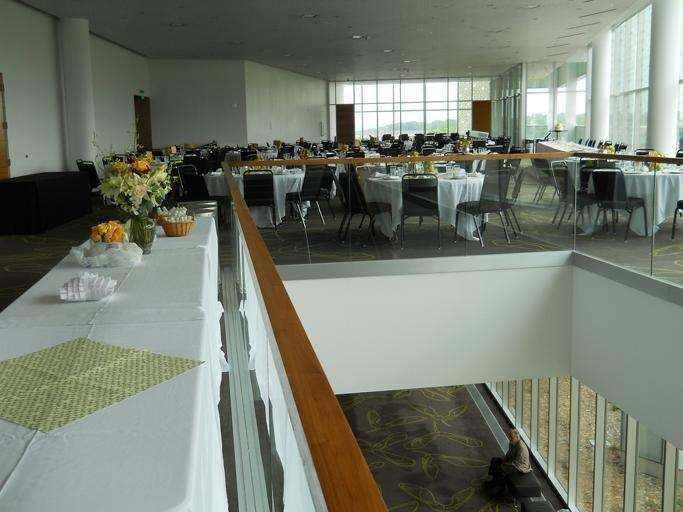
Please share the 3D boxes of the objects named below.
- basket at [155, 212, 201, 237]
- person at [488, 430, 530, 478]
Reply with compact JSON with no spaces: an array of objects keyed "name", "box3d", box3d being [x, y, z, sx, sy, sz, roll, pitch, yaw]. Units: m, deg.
[{"name":"basket","box3d":[-1.185,-0.236,3.280,0.191,0.103,0.185,0,11,0]},{"name":"person","box3d":[2.891,3.449,7.690,0.657,0.886,0.402,7,-1,-7]}]
